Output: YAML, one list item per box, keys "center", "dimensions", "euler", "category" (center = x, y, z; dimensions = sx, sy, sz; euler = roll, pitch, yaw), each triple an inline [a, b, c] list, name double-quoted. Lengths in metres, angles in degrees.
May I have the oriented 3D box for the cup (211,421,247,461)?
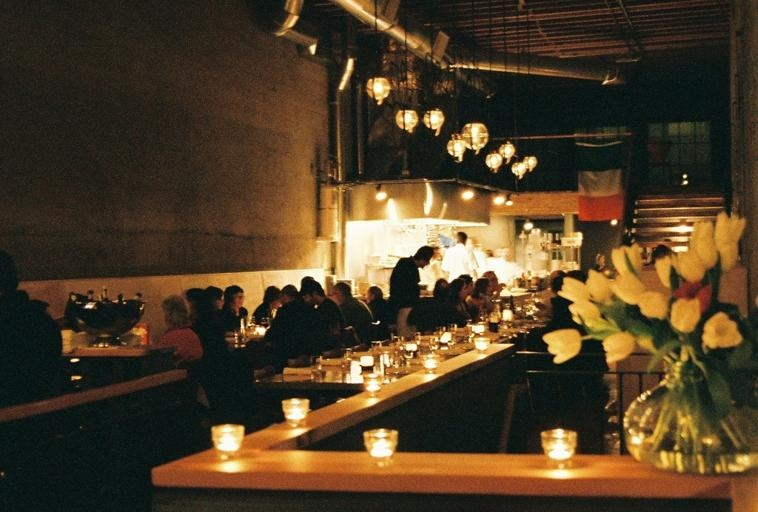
- center: [-0.688, 0.864, 3.772]
  dimensions: [0.160, 0.123, 0.154]
  euler: [0, 3, 0]
  category: "cup"

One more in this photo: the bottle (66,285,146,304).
- center: [-2.329, 0.331, 6.752]
  dimensions: [0.353, 0.123, 0.345]
  euler: [1, -9, 0]
  category: "bottle"

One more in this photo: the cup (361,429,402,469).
- center: [0.019, 0.880, 3.685]
  dimensions: [0.167, 0.137, 0.153]
  euler: [-3, -1, 0]
  category: "cup"

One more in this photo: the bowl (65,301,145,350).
- center: [-1.978, 0.476, 5.781]
  dimensions: [0.400, 0.226, 0.392]
  euler: [-1, -10, 0]
  category: "bowl"

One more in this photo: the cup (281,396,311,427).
- center: [-0.422, 0.795, 4.111]
  dimensions: [0.149, 0.114, 0.139]
  euler: [-3, 0, 0]
  category: "cup"

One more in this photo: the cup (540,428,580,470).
- center: [0.810, 0.866, 3.637]
  dimensions: [0.172, 0.142, 0.154]
  euler: [-4, 2, -3]
  category: "cup"
